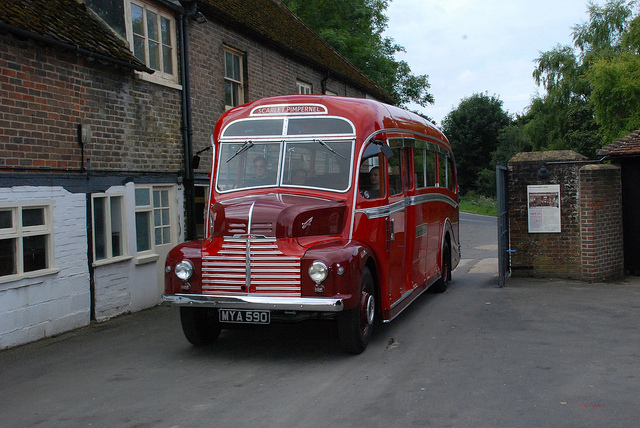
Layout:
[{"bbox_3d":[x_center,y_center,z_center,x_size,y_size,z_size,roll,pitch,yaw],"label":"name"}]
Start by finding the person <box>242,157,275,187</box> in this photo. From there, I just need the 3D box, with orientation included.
[{"bbox_3d":[-1.008,-0.688,8.348,0.718,0.622,0.353,1,4,9],"label":"person"}]

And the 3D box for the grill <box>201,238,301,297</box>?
[{"bbox_3d":[-1.002,0.736,8.110,1.689,0.898,1.748,0,5,-1],"label":"grill"}]
